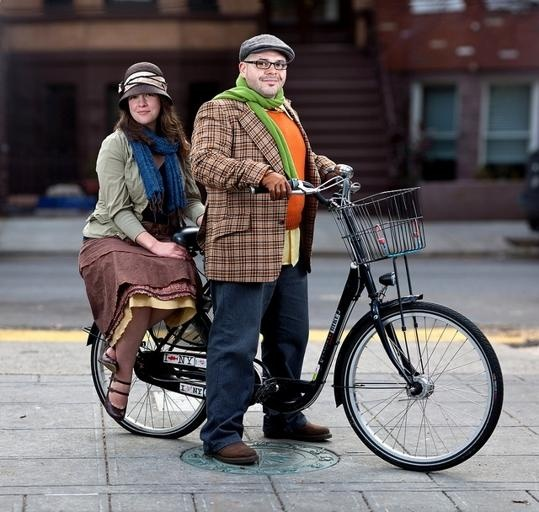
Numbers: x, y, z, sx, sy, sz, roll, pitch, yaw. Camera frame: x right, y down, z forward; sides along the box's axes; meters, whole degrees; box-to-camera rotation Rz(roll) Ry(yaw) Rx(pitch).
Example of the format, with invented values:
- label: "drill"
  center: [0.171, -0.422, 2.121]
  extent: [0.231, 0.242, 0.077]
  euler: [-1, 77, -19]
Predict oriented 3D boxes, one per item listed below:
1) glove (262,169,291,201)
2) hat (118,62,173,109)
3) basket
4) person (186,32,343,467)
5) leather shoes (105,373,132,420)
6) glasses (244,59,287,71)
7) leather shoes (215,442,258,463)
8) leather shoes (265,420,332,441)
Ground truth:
- label: "glove"
  center: [0.034, -0.354, 5.237]
  extent: [0.148, 0.142, 0.077]
  euler: [0, 8, 6]
- label: "hat"
  center: [-0.670, -1.017, 5.951]
  extent: [0.306, 0.160, 0.257]
  euler: [11, 15, 16]
- label: "basket"
  center: [0.637, -0.149, 5.531]
  extent: [0.398, 0.323, 0.523]
  euler: [-22, 6, -19]
- label: "person"
  center: [-0.033, -0.058, 5.645]
  extent: [0.593, 2.266, 0.757]
  euler: [6, 10, 37]
- label: "leather shoes"
  center: [-0.859, 0.815, 5.877]
  extent: [0.114, 0.299, 0.136]
  euler: [5, 9, -27]
- label: "glasses"
  center: [-0.016, -1.016, 5.573]
  extent: [0.227, 0.055, 0.103]
  euler: [0, 7, -1]
- label: "leather shoes"
  center: [-0.163, 1.043, 5.524]
  extent: [0.218, 0.078, 0.098]
  euler: [-4, -5, 22]
- label: "leather shoes"
  center: [0.169, 1.001, 5.981]
  extent: [0.413, 0.137, 0.126]
  euler: [-1, 1, 8]
